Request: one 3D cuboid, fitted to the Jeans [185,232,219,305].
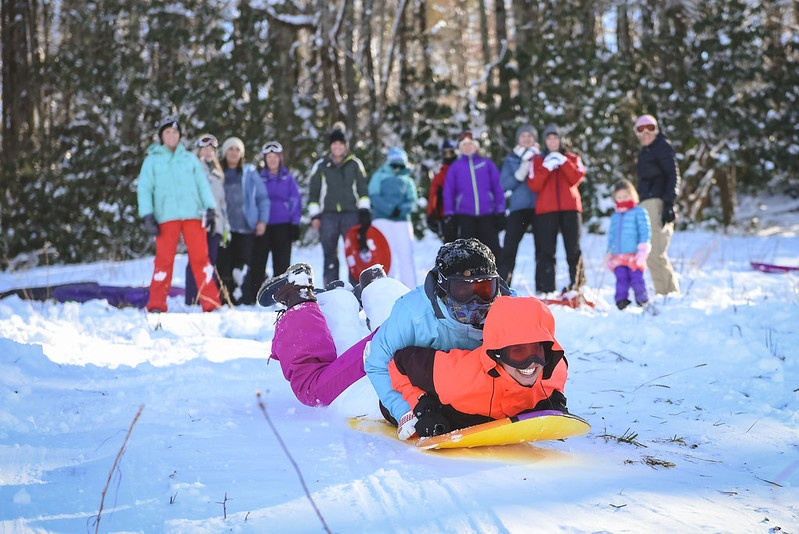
[{"bbox_3d":[-2.846,-0.163,14.193,0.607,0.524,2.075,1,29,-14],"label":"Jeans"}]

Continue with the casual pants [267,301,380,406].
[{"bbox_3d":[-0.836,0.976,11.328,1.509,0.776,1.042,22,13,30],"label":"casual pants"}]

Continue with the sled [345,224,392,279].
[{"bbox_3d":[-0.498,-0.246,14.440,0.666,0.996,0.216,-1,7,5],"label":"sled"}]

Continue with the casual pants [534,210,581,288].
[{"bbox_3d":[2.263,-0.150,13.971,0.660,1.400,0.381,-1,-36,8],"label":"casual pants"}]

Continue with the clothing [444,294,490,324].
[{"bbox_3d":[0.723,0.466,10.500,0.279,0.211,0.345,5,2,-27],"label":"clothing"}]

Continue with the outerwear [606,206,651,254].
[{"bbox_3d":[3.189,-0.513,13.644,0.573,0.659,0.324,-4,-10,42],"label":"outerwear"}]

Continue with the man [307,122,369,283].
[{"bbox_3d":[-0.914,-0.840,15.102,0.879,2.882,0.577,-4,27,-6],"label":"man"}]

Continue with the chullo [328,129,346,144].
[{"bbox_3d":[-0.977,-1.984,14.939,0.209,0.190,0.205,0,2,6],"label":"chullo"}]

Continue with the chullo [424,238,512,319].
[{"bbox_3d":[0.702,0.106,10.745,0.689,0.843,0.882,-5,15,-18],"label":"chullo"}]

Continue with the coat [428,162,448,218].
[{"bbox_3d":[0.571,-1.204,15.548,0.248,0.706,0.463,8,7,6],"label":"coat"}]

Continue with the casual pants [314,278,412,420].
[{"bbox_3d":[-0.432,0.862,11.227,0.434,1.112,1.522,-18,42,21],"label":"casual pants"}]

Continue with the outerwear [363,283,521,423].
[{"bbox_3d":[0.296,0.952,10.477,1.370,0.667,1.170,-32,6,45],"label":"outerwear"}]

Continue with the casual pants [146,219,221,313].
[{"bbox_3d":[-2.980,-0.015,13.567,0.971,1.512,0.407,4,-20,-28],"label":"casual pants"}]

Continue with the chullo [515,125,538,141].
[{"bbox_3d":[1.872,-2.048,14.729,0.367,0.336,0.402,2,8,7],"label":"chullo"}]

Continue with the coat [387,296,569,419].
[{"bbox_3d":[0.854,1.060,10.336,1.182,0.790,1.459,-8,-2,-40],"label":"coat"}]

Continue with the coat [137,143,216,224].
[{"bbox_3d":[-3.054,-1.126,13.446,0.959,1.083,0.519,0,-8,-31],"label":"coat"}]

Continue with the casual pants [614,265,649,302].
[{"bbox_3d":[3.177,0.214,13.563,0.375,0.558,0.203,-4,-10,19],"label":"casual pants"}]

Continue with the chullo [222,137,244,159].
[{"bbox_3d":[-2.465,-1.784,14.446,0.343,0.315,0.373,6,13,3],"label":"chullo"}]

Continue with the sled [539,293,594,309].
[{"bbox_3d":[2.333,0.458,13.591,0.551,0.151,0.394,10,23,-21],"label":"sled"}]
